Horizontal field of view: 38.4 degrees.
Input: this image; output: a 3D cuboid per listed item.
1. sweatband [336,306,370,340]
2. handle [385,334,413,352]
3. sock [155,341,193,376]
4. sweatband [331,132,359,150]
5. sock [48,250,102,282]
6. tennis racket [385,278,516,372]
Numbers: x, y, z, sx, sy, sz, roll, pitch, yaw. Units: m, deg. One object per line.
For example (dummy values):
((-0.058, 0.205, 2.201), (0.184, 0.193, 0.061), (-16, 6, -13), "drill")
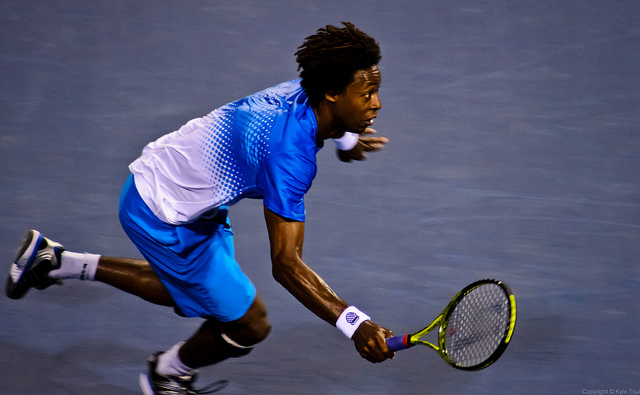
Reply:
((0.217, 0.855, 6.290), (0.144, 0.167, 0.174), (31, 55, 30), "sweatband")
((0.536, 0.983, 6.219), (0.194, 0.064, 0.097), (-5, 24, 25), "handle")
((-1.087, 1.230, 6.928), (0.377, 0.217, 0.124), (-16, 48, -31), "sock")
((0.227, -0.446, 7.389), (0.177, 0.163, 0.136), (-17, 67, 28), "sweatband")
((-1.883, 0.544, 7.116), (0.412, 0.238, 0.159), (8, 48, 13), "sock")
((1.082, 0.884, 6.338), (0.478, 0.470, 0.594), (26, 52, 28), "tennis racket")
